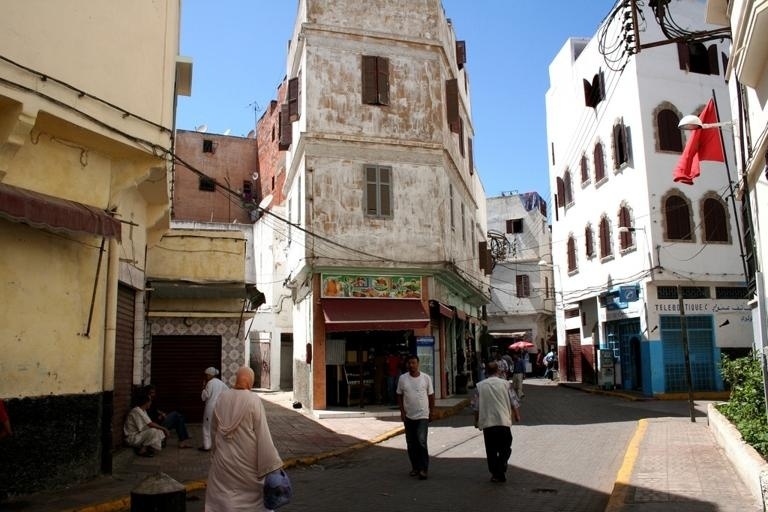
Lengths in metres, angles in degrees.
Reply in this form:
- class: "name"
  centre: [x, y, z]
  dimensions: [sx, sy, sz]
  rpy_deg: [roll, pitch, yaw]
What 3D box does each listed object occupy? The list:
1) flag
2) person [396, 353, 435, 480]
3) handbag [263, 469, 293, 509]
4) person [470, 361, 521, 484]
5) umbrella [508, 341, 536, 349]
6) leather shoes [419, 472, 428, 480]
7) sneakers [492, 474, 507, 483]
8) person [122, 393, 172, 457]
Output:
- class: "flag"
  centre: [10.332, -3.675, 22.567]
  dimensions: [1.557, 4.610, 1.356]
  rpy_deg: [5, -45, 30]
- class: "person"
  centre: [0.632, 3.161, 13.645]
  dimensions: [0.706, 2.410, 0.483]
  rpy_deg: [-2, -12, 0]
- class: "handbag"
  centre: [-1.546, 3.310, 9.771]
  dimensions: [0.379, 0.544, 0.186]
  rpy_deg: [-1, -12, -6]
- class: "person"
  centre: [2.194, 3.195, 13.401]
  dimensions: [0.859, 2.277, 0.614]
  rpy_deg: [-3, -12, 7]
- class: "umbrella"
  centre: [8.749, 5.523, 43.010]
  dimensions: [1.322, 0.491, 1.393]
  rpy_deg: [-2, -15, 3]
- class: "leather shoes"
  centre: [0.761, 4.254, 13.281]
  dimensions: [0.162, 0.107, 0.166]
  rpy_deg: [-2, -13, 1]
- class: "sneakers"
  centre: [2.180, 4.214, 13.032]
  dimensions: [0.302, 0.130, 0.300]
  rpy_deg: [-4, -13, 8]
- class: "person"
  centre: [-5.352, 3.691, 15.199]
  dimensions: [0.857, 1.401, 0.620]
  rpy_deg: [2, -13, -18]
